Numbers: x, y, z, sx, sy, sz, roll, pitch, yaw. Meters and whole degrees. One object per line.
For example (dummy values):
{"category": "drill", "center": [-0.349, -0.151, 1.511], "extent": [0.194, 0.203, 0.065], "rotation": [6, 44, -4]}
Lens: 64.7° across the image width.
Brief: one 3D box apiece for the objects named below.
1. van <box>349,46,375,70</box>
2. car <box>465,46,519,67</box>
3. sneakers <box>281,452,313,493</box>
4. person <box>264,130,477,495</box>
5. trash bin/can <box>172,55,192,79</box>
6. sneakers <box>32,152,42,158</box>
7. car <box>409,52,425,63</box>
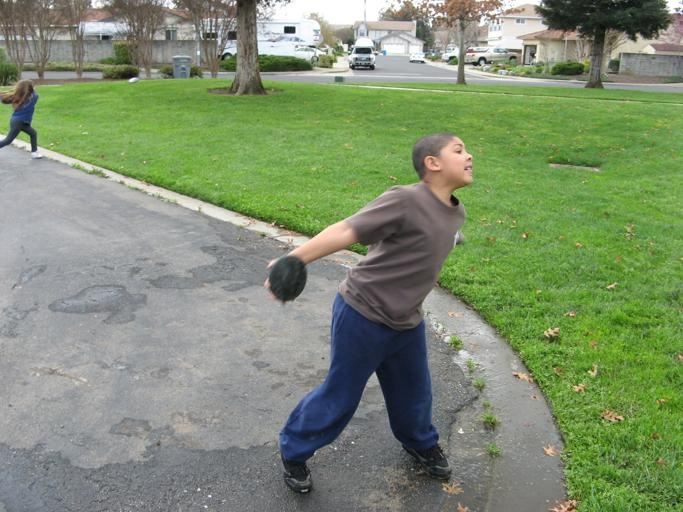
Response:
{"category": "van", "center": [1.958, -19.198, 51.994], "extent": [2.079, 2.118, 2.843], "rotation": [-1, 18, -6]}
{"category": "car", "center": [16.721, -22.669, 61.067], "extent": [5.867, 1.923, 2.547], "rotation": [9, 20, 26]}
{"category": "sneakers", "center": [-0.313, 1.546, 3.839], "extent": [0.130, 0.132, 0.328], "rotation": [1, 1, -26]}
{"category": "person", "center": [0.221, 0.427, 3.651], "extent": [1.311, 2.442, 0.399], "rotation": [-3, 19, -10]}
{"category": "trash bin/can", "center": [-9.331, -10.972, 31.203], "extent": [0.923, 1.172, 1.832], "rotation": [-4, 18, -13]}
{"category": "sneakers", "center": [-6.880, -2.277, 12.097], "extent": [0.299, 0.119, 0.117], "rotation": [1, 9, 21]}
{"category": "car", "center": [9.483, -25.254, 68.491], "extent": [1.360, 0.978, 3.039], "rotation": [2, 25, 3]}
